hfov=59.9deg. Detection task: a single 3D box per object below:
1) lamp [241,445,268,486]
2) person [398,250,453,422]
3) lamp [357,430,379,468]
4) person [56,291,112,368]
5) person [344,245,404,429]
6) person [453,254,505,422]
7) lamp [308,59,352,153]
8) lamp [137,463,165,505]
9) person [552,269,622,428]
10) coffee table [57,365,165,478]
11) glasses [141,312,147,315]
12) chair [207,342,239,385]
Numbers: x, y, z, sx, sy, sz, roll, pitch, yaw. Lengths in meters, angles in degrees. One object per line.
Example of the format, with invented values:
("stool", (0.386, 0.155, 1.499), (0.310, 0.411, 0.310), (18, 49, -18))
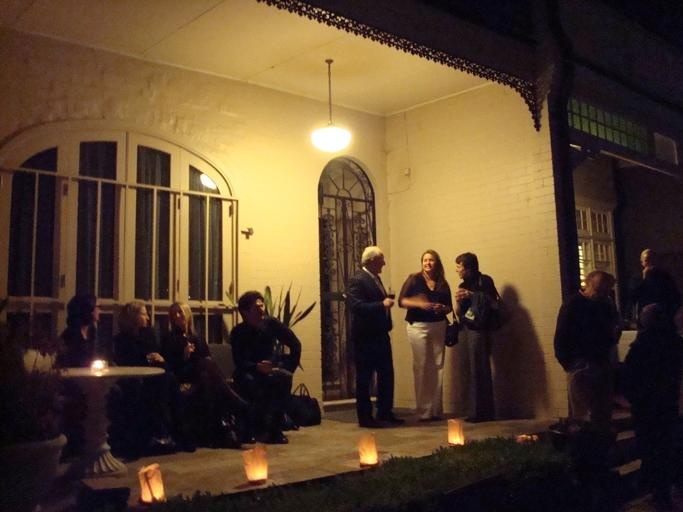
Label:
("lamp", (-0.645, 1.563, 4.514), (0.181, 0.283, 0.352), (-1, -7, -8))
("person", (1.001, 0.936, 7.030), (0.601, 1.992, 0.376), (-2, -7, 8))
("lamp", (0.218, 1.566, 4.769), (0.157, 0.253, 0.251), (-2, -7, 2))
("person", (-2.458, 0.699, 5.581), (0.298, 0.662, 0.745), (2, -8, -25))
("person", (0.364, 0.911, 6.849), (0.533, 2.075, 0.625), (-2, -7, 8))
("person", (1.669, 0.962, 7.163), (0.538, 2.007, 0.317), (-3, -7, 9))
("lamp", (-0.166, -1.974, 8.205), (0.553, 1.049, 1.202), (-1, -7, 0))
("lamp", (-1.291, 1.545, 4.057), (0.165, 0.254, 0.359), (1, -7, -17))
("person", (2.098, 0.795, 5.097), (0.503, 1.291, 0.170), (-4, -8, 21))
("coffee table", (-2.028, 1.451, 4.919), (0.957, 0.783, 0.966), (-2, -10, -33))
("glasses", (-2.015, 0.596, 6.060), (0.037, 0.041, 0.033), (-1, 0, 19))
("chair", (-1.315, 1.226, 6.989), (0.343, 0.243, 0.191), (16, 3, -35))
